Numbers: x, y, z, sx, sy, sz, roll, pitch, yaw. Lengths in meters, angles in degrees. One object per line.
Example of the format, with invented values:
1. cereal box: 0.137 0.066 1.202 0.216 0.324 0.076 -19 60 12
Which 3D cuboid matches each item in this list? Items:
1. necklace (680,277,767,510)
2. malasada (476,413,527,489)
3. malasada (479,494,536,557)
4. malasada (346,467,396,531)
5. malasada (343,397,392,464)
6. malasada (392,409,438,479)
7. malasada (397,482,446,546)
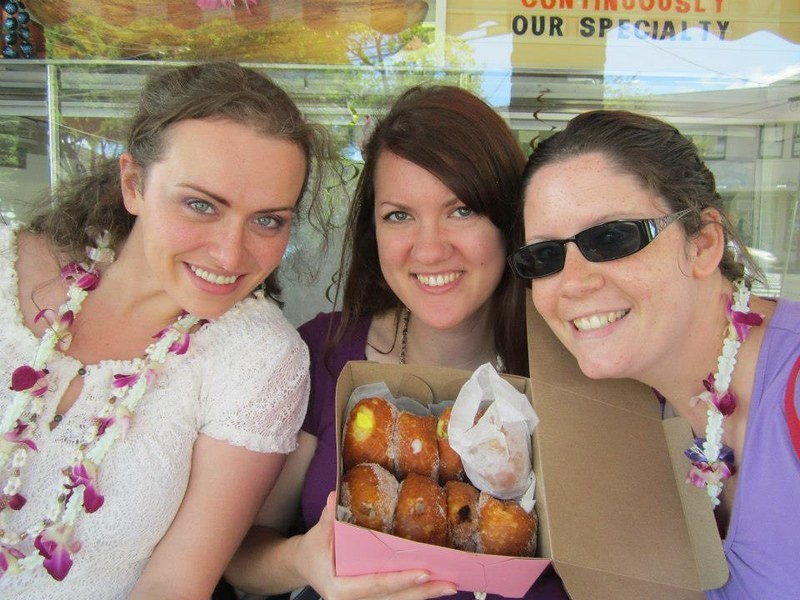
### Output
1. necklace: 1.108 0.328 2.310 0.231 0.803 0.247 18 -19 4
2. malasada: 0.272 0.495 2.117 0.187 0.240 0.251 1 -23 3
3. malasada: 0.337 0.724 2.060 0.180 0.154 0.109 2 9 9
4. malasada: -0.088 0.624 2.074 0.167 0.179 0.096 6 -37 -6
5. malasada: -0.106 0.450 2.261 0.160 0.198 0.117 6 -9 7
6. malasada: 0.057 0.493 2.209 0.196 0.178 0.084 2 -4 6
7. malasada: 0.077 0.672 2.057 0.190 0.184 0.064 16 -24 -29
